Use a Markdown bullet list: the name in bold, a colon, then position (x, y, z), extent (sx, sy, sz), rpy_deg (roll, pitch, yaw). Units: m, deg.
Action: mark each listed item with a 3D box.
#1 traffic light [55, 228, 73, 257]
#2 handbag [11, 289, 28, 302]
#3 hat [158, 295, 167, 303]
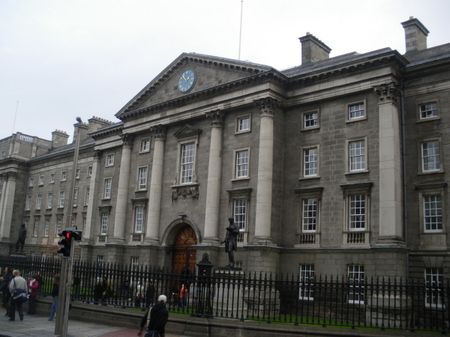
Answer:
- **traffic light**: position (-7.444, 3.549, 20.210), extent (0.679, 1.315, 0.513), rpy_deg (10, -45, -25)
- **handbag**: position (-11.100, 6.863, 23.761), extent (0.777, 0.718, 0.551), rpy_deg (17, -15, -16)
- **hat**: position (-2.491, 5.057, 17.247), extent (0.419, 0.323, 0.560), rpy_deg (1, -10, -2)
